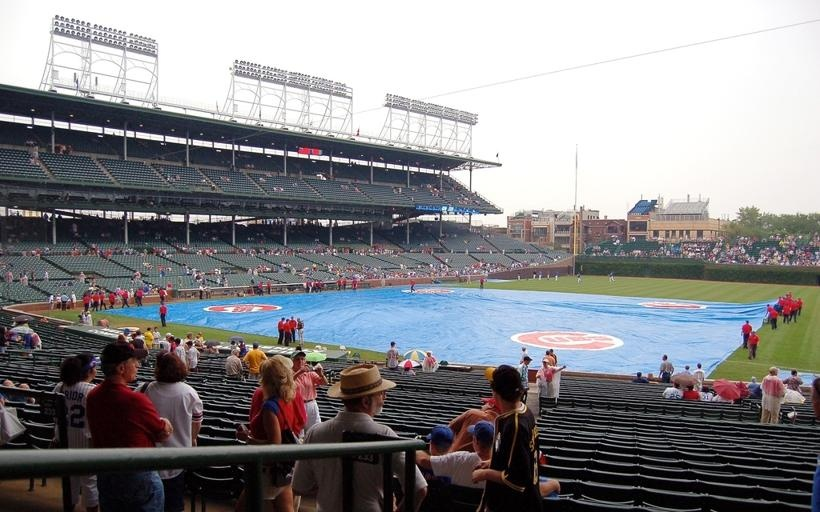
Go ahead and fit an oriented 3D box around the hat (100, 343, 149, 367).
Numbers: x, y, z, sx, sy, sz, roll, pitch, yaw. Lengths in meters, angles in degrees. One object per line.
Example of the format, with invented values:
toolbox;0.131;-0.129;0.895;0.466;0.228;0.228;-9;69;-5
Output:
hat;-5.517;1.882;12.827;0.550;0.349;0.785;5;6;38

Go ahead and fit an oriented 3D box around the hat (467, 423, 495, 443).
hat;1.383;3.382;12.725;0.446;0.205;0.333;6;7;45

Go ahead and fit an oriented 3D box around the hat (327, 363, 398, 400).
hat;-0.951;2.329;12.191;0.953;0.272;0.751;-6;2;-16

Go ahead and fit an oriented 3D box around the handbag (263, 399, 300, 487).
handbag;-2.438;3.541;12.461;0.714;1.692;0.667;5;-1;-19

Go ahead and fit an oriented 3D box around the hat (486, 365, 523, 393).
hat;1.805;2.276;12.255;0.450;0.325;0.595;-4;23;-7

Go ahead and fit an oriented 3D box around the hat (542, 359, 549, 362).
hat;4.273;3.309;20.608;0.135;0.089;0.160;9;6;-22
